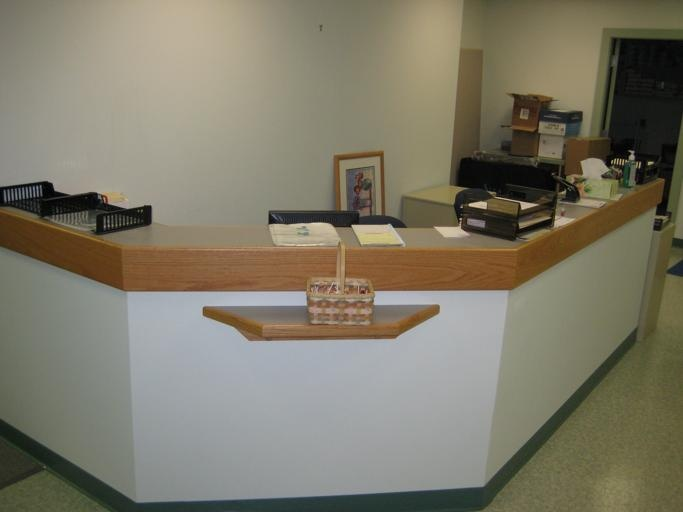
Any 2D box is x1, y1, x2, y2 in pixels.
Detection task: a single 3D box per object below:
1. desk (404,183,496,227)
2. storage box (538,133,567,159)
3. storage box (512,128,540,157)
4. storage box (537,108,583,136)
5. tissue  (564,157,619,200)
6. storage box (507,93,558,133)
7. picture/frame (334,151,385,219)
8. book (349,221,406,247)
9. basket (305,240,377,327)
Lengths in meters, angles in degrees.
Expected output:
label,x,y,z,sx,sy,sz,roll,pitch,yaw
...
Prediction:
label,x,y,z,sx,sy,sz,roll,pitch,yaw
desk,1.169,-0.686,6.420,0.542,0.515,0.546,18,28,41
storage box,3.115,-1.606,8.046,0.360,0.347,0.359,10,10,18
storage box,2.769,-1.704,8.310,0.346,0.420,0.421,15,53,15
storage box,3.275,-1.942,7.971,0.677,0.366,0.307,-1,17,-4
tissue ,2.060,-0.640,4.453,0.404,0.259,0.792,9,19,25
storage box,2.902,-2.180,8.185,0.642,0.567,0.644,8,15,19
picture/frame,0.163,-0.763,5.611,0.784,0.905,0.039,-14,20,-40
book,0.206,-0.124,3.077,0.267,0.045,0.382,-1,17,-5
basket,-0.006,0.113,2.818,0.426,0.470,0.290,-1,25,-3
